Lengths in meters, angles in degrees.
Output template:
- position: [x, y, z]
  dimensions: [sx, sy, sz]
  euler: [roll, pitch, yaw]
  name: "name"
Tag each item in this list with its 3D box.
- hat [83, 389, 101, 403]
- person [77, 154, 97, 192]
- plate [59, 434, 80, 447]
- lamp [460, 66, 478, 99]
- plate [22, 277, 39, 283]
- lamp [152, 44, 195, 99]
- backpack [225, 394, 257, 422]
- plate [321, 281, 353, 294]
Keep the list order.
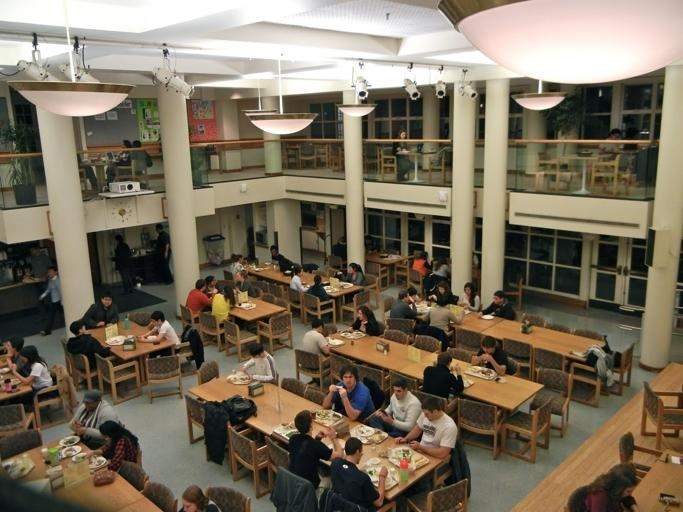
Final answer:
- position: [-3.541, 2.005, 7.259]
  dimensions: [0.198, 0.191, 0.259]
  euler: [1, -1, -30]
  name: "hat"
- position: [-6.160, -2.048, 12.390]
  dimensions: [0.435, 0.986, 0.345]
  euler: [1, 0, -29]
  name: "person"
- position: [-3.731, 2.538, 6.977]
  dimensions: [0.255, 0.080, 0.309]
  euler: [1, -1, -4]
  name: "plate"
- position: [3.204, -4.454, 12.901]
  dimensions: [0.493, 0.780, 0.391]
  euler: [-25, 29, -34]
  name: "lamp"
- position: [-8.506, 0.645, 13.909]
  dimensions: [0.287, 0.104, 0.215]
  euler: [2, 3, 37]
  name: "plate"
- position: [-3.180, -3.318, 9.533]
  dimensions: [1.001, 0.317, 0.357]
  euler: [36, 13, 19]
  name: "lamp"
- position: [-1.523, 2.325, 7.620]
  dimensions: [0.531, 0.408, 0.318]
  euler: [0, -1, 39]
  name: "backpack"
- position: [-0.037, 0.856, 13.340]
  dimensions: [0.399, 0.092, 0.394]
  euler: [-11, 21, -37]
  name: "plate"
